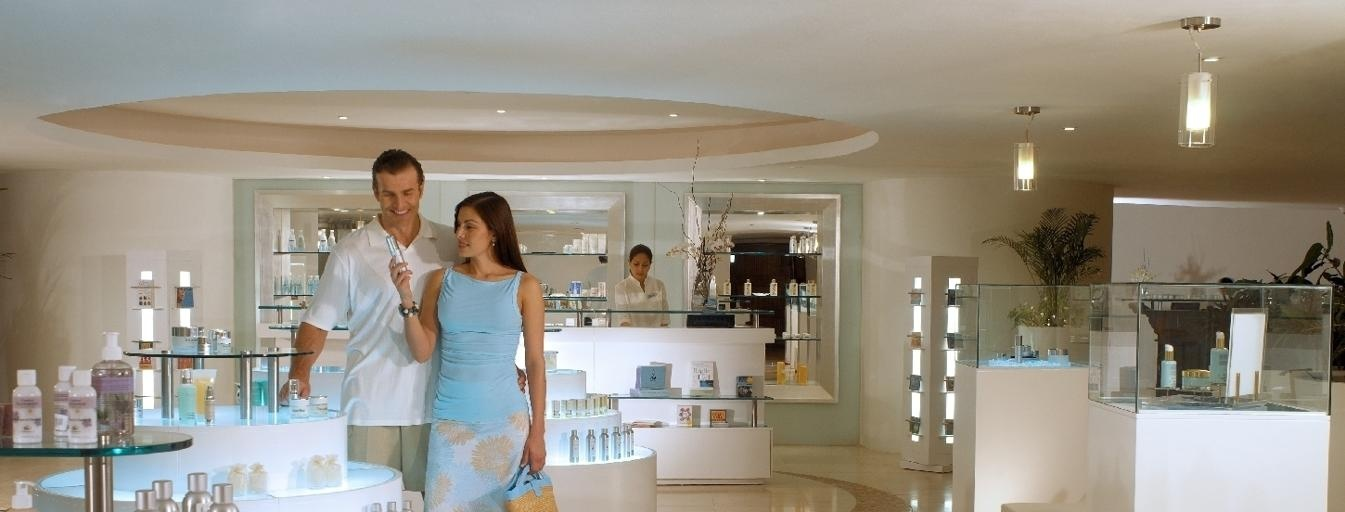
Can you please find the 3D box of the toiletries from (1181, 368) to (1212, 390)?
[{"bbox_3d":[6.524,1.502,11.858,0.353,0.169,0.312,2,-5,-29],"label":"toiletries"}]

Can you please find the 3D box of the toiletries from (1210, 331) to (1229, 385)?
[{"bbox_3d":[6.812,1.237,11.843,0.211,0.614,0.062,1,-3,-2],"label":"toiletries"}]

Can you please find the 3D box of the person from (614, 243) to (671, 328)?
[{"bbox_3d":[-0.459,0.638,15.675,0.741,1.468,0.920,3,0,-13],"label":"person"}]

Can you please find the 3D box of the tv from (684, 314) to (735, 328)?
[{"bbox_3d":[0.621,1.004,15.130,0.731,0.207,0.088,1,-3,-6],"label":"tv"}]

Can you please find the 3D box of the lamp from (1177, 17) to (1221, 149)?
[{"bbox_3d":[6.597,-2.016,11.909,0.486,1.743,0.484,2,1,-16],"label":"lamp"}]

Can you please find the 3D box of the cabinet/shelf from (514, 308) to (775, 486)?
[{"bbox_3d":[-0.425,2.114,14.293,4.373,2.094,1.153,0,-7,-1],"label":"cabinet/shelf"}]

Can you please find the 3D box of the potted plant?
[{"bbox_3d":[5.780,0.412,14.985,3.167,2.093,2.567,1,-8,3],"label":"potted plant"}]
